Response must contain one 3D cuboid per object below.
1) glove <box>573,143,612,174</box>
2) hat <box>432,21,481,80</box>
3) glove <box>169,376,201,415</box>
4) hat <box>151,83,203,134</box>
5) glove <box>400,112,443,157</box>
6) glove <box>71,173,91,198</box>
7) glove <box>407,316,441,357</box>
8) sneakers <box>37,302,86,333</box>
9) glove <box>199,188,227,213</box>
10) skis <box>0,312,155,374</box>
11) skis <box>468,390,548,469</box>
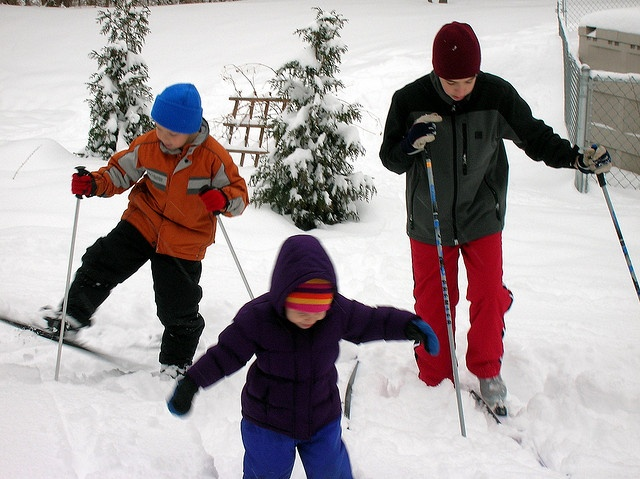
[{"bbox_3d":[1.787,-0.524,3.437,0.209,0.215,0.218,6,21,25],"label":"glove"},{"bbox_3d":[0.824,-1.137,3.298,0.290,0.320,0.367,-1,54,4],"label":"hat"},{"bbox_3d":[-0.673,0.798,2.678,0.105,0.196,0.080,22,-13,17],"label":"glove"},{"bbox_3d":[-0.932,-0.904,3.537,0.323,0.287,0.343,22,18,-12],"label":"hat"},{"bbox_3d":[0.643,-0.664,3.303,0.226,0.265,0.237,7,21,27],"label":"glove"},{"bbox_3d":[-1.629,-0.375,3.588,0.153,0.175,0.127,5,10,0],"label":"glove"},{"bbox_3d":[0.551,0.511,2.834,0.232,0.131,0.096,51,40,8],"label":"glove"},{"bbox_3d":[-1.782,0.556,3.579,0.334,0.170,0.139,6,20,23],"label":"sneakers"},{"bbox_3d":[-0.692,-0.258,3.436,0.174,0.127,0.058,48,23,0],"label":"glove"},{"bbox_3d":[-1.787,0.776,3.805,0.828,0.047,0.123,25,-14,7],"label":"skis"},{"bbox_3d":[1.195,1.241,3.336,0.023,0.058,0.545,26,18,-43],"label":"skis"}]
